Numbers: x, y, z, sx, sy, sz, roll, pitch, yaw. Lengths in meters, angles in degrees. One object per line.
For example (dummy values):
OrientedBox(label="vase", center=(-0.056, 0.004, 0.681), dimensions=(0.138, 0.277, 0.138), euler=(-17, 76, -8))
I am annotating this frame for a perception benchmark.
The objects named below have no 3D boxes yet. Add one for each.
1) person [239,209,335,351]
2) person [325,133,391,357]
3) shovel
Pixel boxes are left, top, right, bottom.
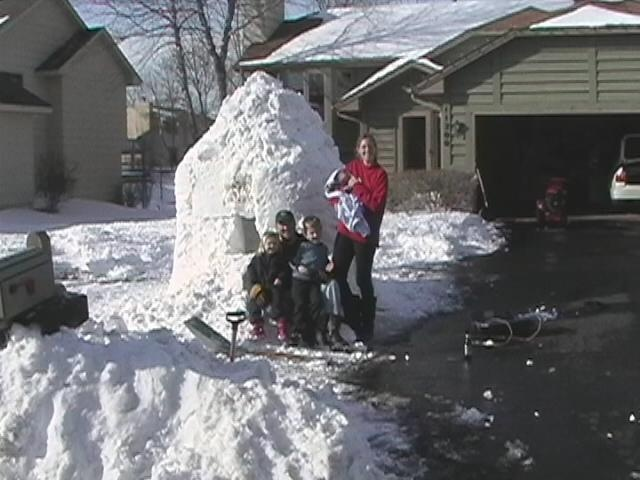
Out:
OrientedBox(label="person", center=(-0.368, 0.401, 6.649), dimensions=(0.953, 1.618, 0.881), euler=(-7, -27, 13))
OrientedBox(label="person", center=(0.379, -0.014, 6.507), dimensions=(0.621, 2.090, 0.759), euler=(-2, 11, -4))
OrientedBox(label="shovel", center=(-0.574, 0.998, 6.042), dimensions=(1.209, 0.270, 0.332), euler=(5, 8, 17))
